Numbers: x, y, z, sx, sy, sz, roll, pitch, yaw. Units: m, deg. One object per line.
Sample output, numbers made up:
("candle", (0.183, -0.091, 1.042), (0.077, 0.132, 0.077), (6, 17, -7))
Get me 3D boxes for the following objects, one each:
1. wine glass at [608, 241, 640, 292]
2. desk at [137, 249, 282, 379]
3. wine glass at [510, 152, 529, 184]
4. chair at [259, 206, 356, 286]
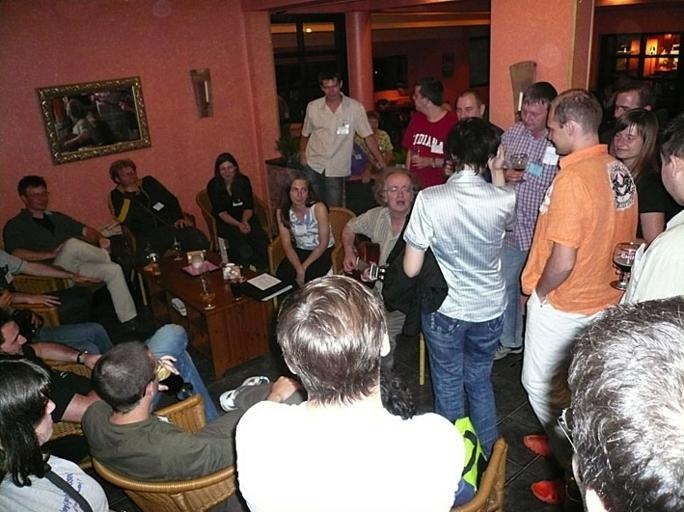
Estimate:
("wine glass", (1.378, 0.046, 2.477), (0.131, 0.202, 0.133), (9, 14, 9))
("desk", (-1.059, 0.075, 4.221), (0.797, 0.767, 1.638), (-13, 23, -36))
("wine glass", (1.183, -0.574, 3.441), (0.108, 0.223, 0.474), (2, 21, 20))
("chair", (-0.256, -0.176, 4.542), (0.708, 0.704, 0.608), (5, 11, 33))
